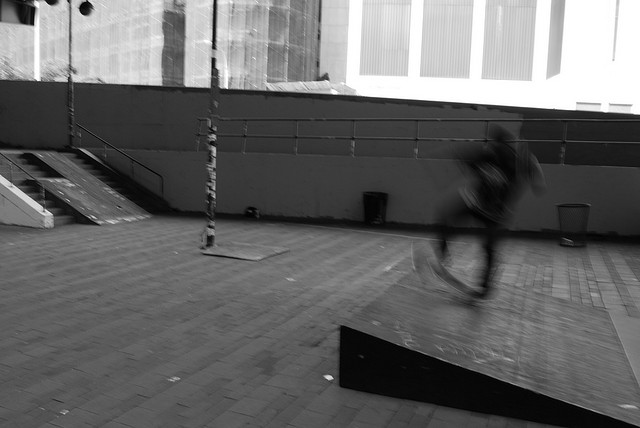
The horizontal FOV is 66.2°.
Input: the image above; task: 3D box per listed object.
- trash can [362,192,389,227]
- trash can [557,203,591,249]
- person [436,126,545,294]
[{"bbox_3d":[1.823,-0.187,16.385,0.805,1.090,0.585,3,11,7],"label":"trash can"},{"bbox_3d":[7.012,0.135,14.071,0.840,0.994,0.850,-8,11,2],"label":"trash can"},{"bbox_3d":[1.971,-0.015,5.784,1.082,1.991,0.844,9,13,35],"label":"person"}]
